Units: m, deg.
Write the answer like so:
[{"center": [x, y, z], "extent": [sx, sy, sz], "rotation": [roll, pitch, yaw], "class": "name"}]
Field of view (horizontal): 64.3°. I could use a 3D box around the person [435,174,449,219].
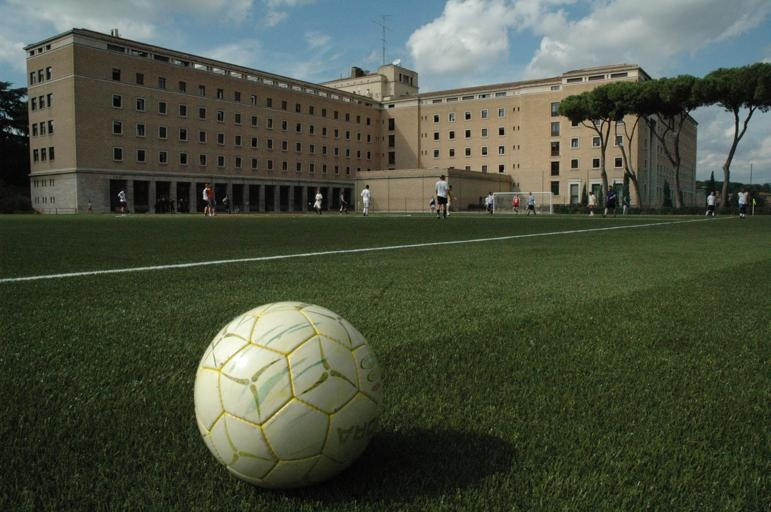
[{"center": [2.488, -2.579, 26.197], "extent": [0.585, 1.826, 0.535], "rotation": [3, 13, 21], "class": "person"}]
